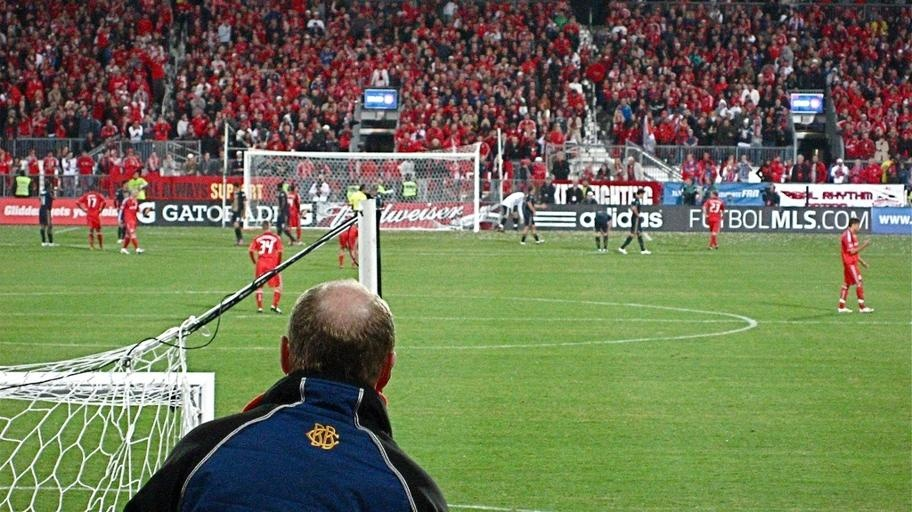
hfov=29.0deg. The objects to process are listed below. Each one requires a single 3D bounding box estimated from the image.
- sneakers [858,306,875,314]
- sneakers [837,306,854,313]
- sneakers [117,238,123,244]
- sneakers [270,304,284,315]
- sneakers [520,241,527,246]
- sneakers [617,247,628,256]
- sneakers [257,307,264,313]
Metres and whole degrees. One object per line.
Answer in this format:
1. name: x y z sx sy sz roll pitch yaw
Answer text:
1. sneakers: 17.210 2.288 74.030 0.500 0.211 0.259 -1 7 0
2. sneakers: 16.305 2.268 74.072 0.697 0.264 0.222 -4 9 -3
3. sneakers: -16.026 -0.694 84.894 0.166 0.186 0.473 1 -6 -35
4. sneakers: -7.400 2.236 73.303 0.213 0.247 0.594 13 -2 37
5. sneakers: 3.328 -0.590 86.205 0.211 0.218 0.507 0 -3 15
6. sneakers: 7.992 -0.229 84.370 0.262 0.188 0.451 33 -8 -31
7. sneakers: -8.084 2.248 73.479 0.165 0.185 0.288 2 8 -3
